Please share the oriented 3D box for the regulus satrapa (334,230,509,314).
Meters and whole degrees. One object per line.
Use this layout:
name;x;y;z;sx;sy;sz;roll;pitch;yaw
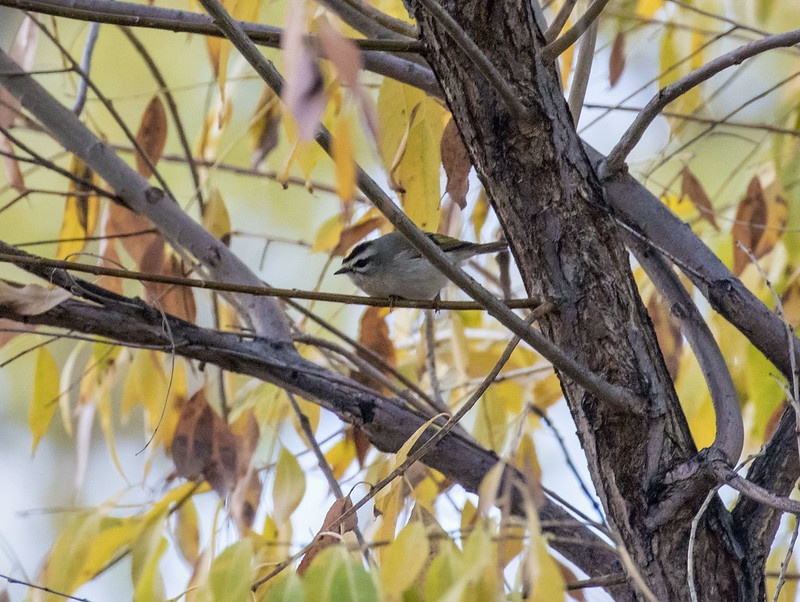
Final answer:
regulus satrapa;0.103;-0.277;7.982;1.136;0.388;0.530;-24;-79;-23
